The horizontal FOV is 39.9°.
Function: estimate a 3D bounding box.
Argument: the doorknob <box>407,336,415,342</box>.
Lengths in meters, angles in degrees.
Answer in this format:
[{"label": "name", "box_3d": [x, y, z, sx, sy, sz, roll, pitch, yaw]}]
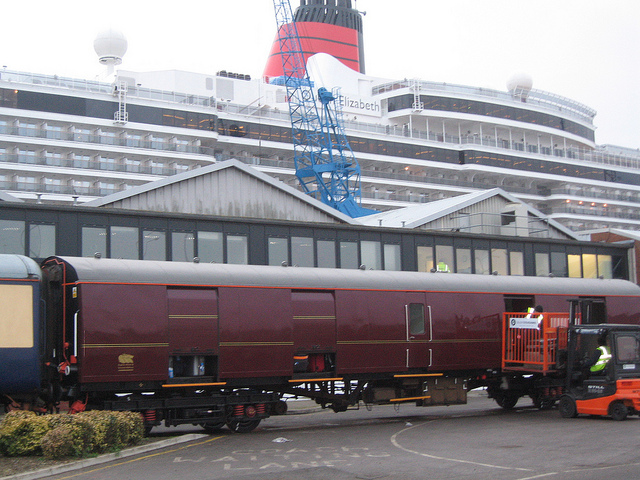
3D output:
[{"label": "doorknob", "box_3d": [3.378, 3.621, 32.507, 0.274, 0.158, 0.051, 0, -10, -15]}]

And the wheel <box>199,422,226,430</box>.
[{"label": "wheel", "box_3d": [-3.723, 6.385, 30.122, 0.741, 0.152, 0.607, 2, -5, -20]}]

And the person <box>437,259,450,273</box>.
[{"label": "person", "box_3d": [6.634, 1.329, 45.461, 1.073, 0.687, 0.268, -3, -4, -35]}]

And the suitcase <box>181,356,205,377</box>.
[{"label": "suitcase", "box_3d": [-4.241, 4.222, 29.701, 0.955, 0.664, 0.747, 0, -2, -6]}]
